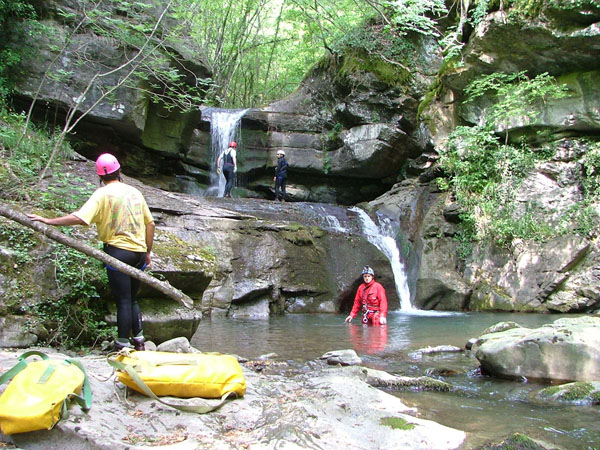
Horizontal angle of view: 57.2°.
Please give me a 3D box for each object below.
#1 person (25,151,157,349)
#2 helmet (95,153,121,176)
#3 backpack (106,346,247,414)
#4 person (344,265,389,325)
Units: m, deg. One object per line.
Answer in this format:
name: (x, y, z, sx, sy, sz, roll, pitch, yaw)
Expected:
person: (-2.560, 0.335, 7.333, 1.247, 2.581, 0.725, 2, 4, -24)
helmet: (-2.621, -0.828, 7.479, 0.283, 0.200, 0.323, -4, 33, -4)
backpack: (-1.299, 1.685, 6.152, 0.983, 0.280, 0.885, 6, 2, -15)
person: (1.526, 1.520, 12.105, 0.851, 1.234, 0.724, 5, 3, 20)
